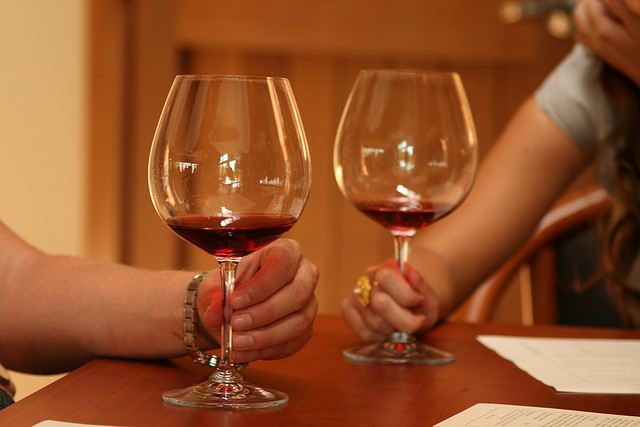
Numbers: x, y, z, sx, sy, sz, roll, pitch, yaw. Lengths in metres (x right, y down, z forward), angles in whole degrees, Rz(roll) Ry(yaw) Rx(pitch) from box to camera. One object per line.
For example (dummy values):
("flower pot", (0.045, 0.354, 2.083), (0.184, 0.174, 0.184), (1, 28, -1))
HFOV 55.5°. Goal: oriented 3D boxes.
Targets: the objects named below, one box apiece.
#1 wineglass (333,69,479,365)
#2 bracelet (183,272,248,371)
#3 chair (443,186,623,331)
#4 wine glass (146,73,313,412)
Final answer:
("wineglass", (0.129, -0.055, 0.915), (0.191, 0.328, 0.133), (6, 8, 30))
("bracelet", (-0.145, 0.141, 0.790), (0.111, 0.104, 0.028), (10, -13, -25))
("chair", (0.511, 0.137, 1.640), (0.411, 0.487, 0.368), (-1, -8, 18))
("wine glass", (-0.105, 0.033, 0.709), (0.181, 0.380, 0.084), (0, 7, -17))
